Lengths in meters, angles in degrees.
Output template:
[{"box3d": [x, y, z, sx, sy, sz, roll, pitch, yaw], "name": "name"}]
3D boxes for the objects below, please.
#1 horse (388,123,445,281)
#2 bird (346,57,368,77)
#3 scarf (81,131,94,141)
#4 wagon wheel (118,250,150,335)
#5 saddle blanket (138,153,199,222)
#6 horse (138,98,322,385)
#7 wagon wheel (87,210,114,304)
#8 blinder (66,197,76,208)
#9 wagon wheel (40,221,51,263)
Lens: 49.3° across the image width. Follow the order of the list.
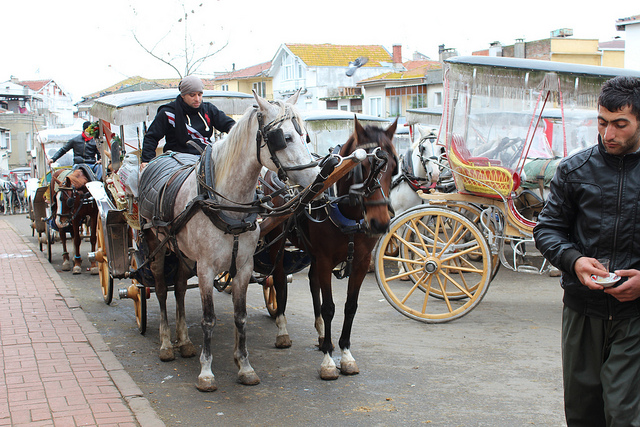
[{"box3d": [2.376, -0.279, 13.114, 1.454, 2.896, 2.073, 4, 0, 10], "name": "horse"}, {"box3d": [2.440, -10.364, 49.674, 0.804, 1.008, 1.762, 29, -47, -33], "name": "bird"}, {"box3d": [-4.988, -1.648, 14.768, 0.181, 0.087, 0.195, 20, -19, 20], "name": "scarf"}, {"box3d": [-2.540, 1.080, 9.629, 0.557, 1.158, 0.800, 1, -2, -12], "name": "wagon wheel"}, {"box3d": [-1.935, -0.263, 8.688, 0.751, 0.912, 0.382, 10, -24, -25], "name": "saddle blanket"}, {"box3d": [-1.185, 0.282, 8.225, 1.066, 3.253, 2.642, -12, 17, -39], "name": "horse"}, {"box3d": [-3.606, 0.732, 11.350, 0.524, 1.489, 1.609, -3, 3, -16], "name": "wagon wheel"}, {"box3d": [-4.946, -0.204, 13.673, 0.086, 0.229, 0.353, -10, 15, -34], "name": "blinder"}, {"box3d": [-6.059, 0.621, 15.227, 0.255, 0.798, 0.859, 0, 5, -10], "name": "wagon wheel"}]
